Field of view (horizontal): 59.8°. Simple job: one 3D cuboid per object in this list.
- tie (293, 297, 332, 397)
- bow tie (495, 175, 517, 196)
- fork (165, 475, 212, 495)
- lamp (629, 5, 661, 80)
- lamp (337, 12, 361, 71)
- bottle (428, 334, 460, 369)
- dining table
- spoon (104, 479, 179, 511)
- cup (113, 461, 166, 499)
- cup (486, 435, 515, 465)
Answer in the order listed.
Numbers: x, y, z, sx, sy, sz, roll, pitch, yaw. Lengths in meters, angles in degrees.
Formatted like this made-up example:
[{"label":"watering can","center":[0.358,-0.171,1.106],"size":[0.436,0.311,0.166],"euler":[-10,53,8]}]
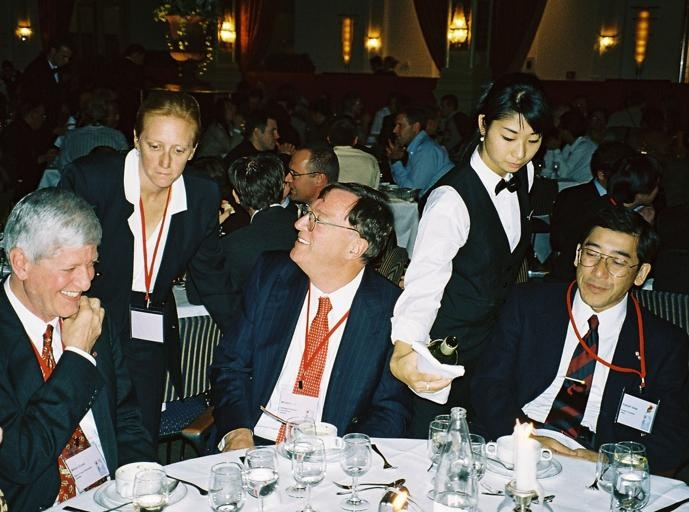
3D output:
[{"label":"tie","center":[-0.106,0.332,2.421],"size":[0.111,0.022,0.464],"euler":[15,40,-7]},{"label":"bow tie","center":[0.699,-0.310,2.612],"size":[0.087,0.075,0.025],"euler":[-5,7,-36]},{"label":"fork","center":[-0.458,0.678,1.760],"size":[0.149,0.018,0.016],"euler":[34,21,-4]},{"label":"lamp","center":[7.080,-5.170,14.326],"size":[0.641,1.430,0.241],"euler":[2,12,10]},{"label":"lamp","center":[0.100,-5.852,16.431],"size":[0.781,1.434,0.312],"euler":[11,28,23]},{"label":"bottle","center":[0.357,0.329,2.163],"size":[0.103,0.138,0.263],"euler":[6,7,8]},{"label":"dining table","center":[0.023,0.348,2.331],"size":[2.853,0.940,0.934],"euler":[2,15,-15]},{"label":"spoon","center":[-0.556,0.683,1.692],"size":[0.132,0.023,0.091],"euler":[-9,-21,-40]},{"label":"cup","center":[-0.607,0.637,1.729],"size":[0.086,0.046,0.116],"euler":[1,2,2]},{"label":"cup","center":[0.513,0.639,1.969],"size":[0.092,0.042,0.070],"euler":[-6,-1,17]}]
